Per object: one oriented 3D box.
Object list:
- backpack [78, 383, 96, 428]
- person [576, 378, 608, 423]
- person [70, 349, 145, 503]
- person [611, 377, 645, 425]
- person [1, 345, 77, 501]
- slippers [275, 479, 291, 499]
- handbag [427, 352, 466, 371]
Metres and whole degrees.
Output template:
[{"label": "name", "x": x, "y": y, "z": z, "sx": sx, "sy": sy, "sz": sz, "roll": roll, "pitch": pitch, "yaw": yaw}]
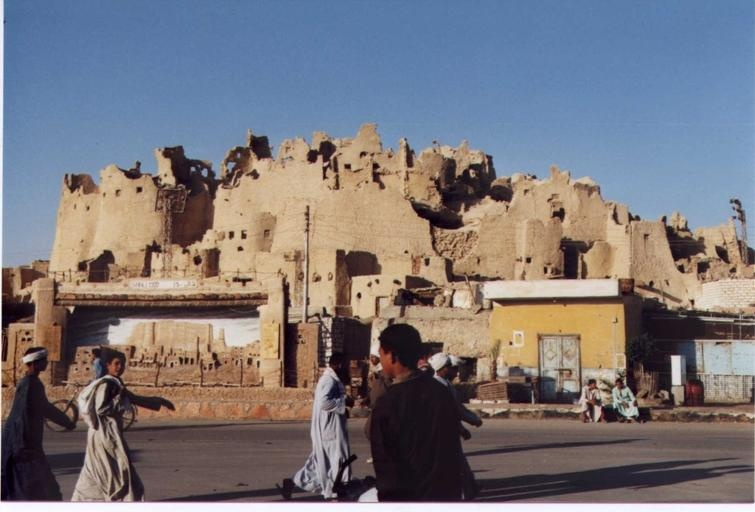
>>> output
[{"label": "backpack", "x": -5.453, "y": 2.860, "z": 21.720, "sx": 0.306, "sy": 0.857, "sz": 0.637, "roll": 1, "pitch": 9, "yaw": -12}, {"label": "person", "x": 5.647, "y": 3.793, "z": 30.069, "sx": 0.638, "sy": 1.126, "sz": 1.194, "roll": -1, "pitch": -7, "yaw": 10}, {"label": "person", "x": -5.041, "y": 3.212, "z": 21.747, "sx": 1.267, "sy": 2.825, "sz": 0.489, "roll": 1, "pitch": -7, "yaw": -11}, {"label": "person", "x": 6.518, "y": 3.742, "z": 29.879, "sx": 0.689, "sy": 1.139, "sz": 0.609, "roll": -1, "pitch": -7, "yaw": 11}, {"label": "person", "x": -6.461, "y": 3.181, "z": 21.753, "sx": 1.106, "sy": 2.882, "sz": 0.500, "roll": 2, "pitch": -7, "yaw": -18}, {"label": "slippers", "x": -1.751, "y": 4.517, "z": 22.292, "sx": 0.332, "sy": 0.379, "sz": 0.811, "roll": 1, "pitch": -7, "yaw": -4}, {"label": "handbag", "x": 1.400, "y": 2.100, "z": 22.400, "sx": 0.577, "sy": 0.175, "sz": 0.370, "roll": -10, "pitch": 19, "yaw": -21}]
